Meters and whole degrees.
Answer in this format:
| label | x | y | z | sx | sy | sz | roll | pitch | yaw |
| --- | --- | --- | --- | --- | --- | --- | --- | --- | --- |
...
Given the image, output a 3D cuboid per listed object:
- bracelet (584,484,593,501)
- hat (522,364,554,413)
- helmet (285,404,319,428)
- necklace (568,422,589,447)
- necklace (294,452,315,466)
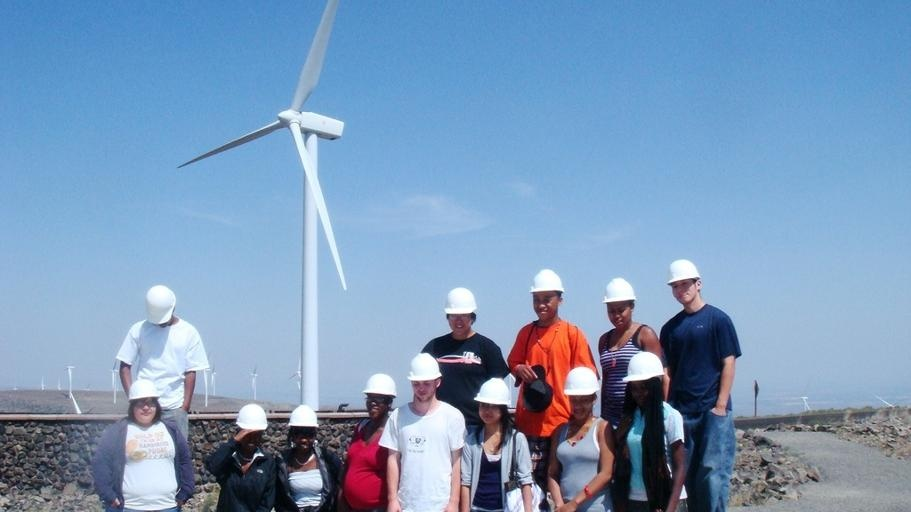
| label | x | y | z | sx | sy | sz | roll | pitch | yaw |
| --- | --- | --- | --- | --- | --- | --- | --- | --- | --- |
| bracelet | 2.992 | 5.326 | 21.535 | 0.132 | 0.252 | 0.230 | -22 | -51 | -8 |
| hat | 1.923 | 3.113 | 22.424 | 0.724 | 1.046 | 0.396 | -2 | -16 | 16 |
| helmet | -3.582 | 3.744 | 22.379 | 0.563 | 0.497 | 0.430 | 3 | -9 | -17 |
| necklace | 2.758 | 4.042 | 21.882 | 0.186 | 0.503 | 0.369 | 36 | -6 | 9 |
| necklace | -3.499 | 4.783 | 22.374 | 0.284 | 0.068 | 0.260 | 15 | -53 | -32 |
